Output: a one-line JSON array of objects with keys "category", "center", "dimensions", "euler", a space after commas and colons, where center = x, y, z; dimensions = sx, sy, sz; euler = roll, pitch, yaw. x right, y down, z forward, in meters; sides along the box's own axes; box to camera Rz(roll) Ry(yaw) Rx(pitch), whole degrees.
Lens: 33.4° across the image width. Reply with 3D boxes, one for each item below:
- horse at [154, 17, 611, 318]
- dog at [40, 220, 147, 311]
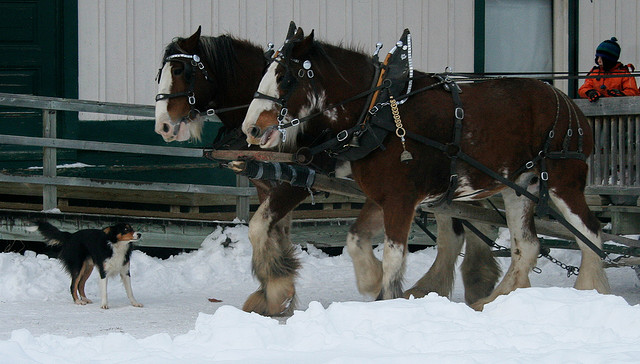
[{"category": "horse", "center": [1.068, -0.161, 15.864], "dimensions": [5.998, 4.443, 2.322], "euler": [-3, 13, -1]}, {"category": "dog", "center": [-3.714, 1.284, 17.046], "dimensions": [2.189, 1.346, 0.745], "euler": [2, -1, 27]}]
